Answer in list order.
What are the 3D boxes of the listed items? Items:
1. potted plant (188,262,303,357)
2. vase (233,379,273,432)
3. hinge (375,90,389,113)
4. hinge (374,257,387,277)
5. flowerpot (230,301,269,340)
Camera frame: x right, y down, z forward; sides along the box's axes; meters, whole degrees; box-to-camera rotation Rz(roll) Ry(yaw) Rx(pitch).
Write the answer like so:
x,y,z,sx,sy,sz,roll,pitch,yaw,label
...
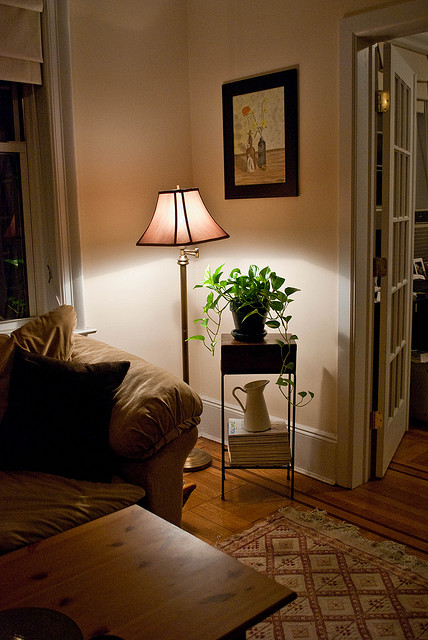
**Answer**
x,y,z,sx,sy,sz,roll,pitch,yaw,label
0.147,-0.054,2.220,0.450,0.342,0.405,9,-17,-30,potted plant
0.196,0.406,2.338,0.211,0.294,0.158,-1,16,6,vase
0.738,-0.967,2.120,0.073,0.079,0.041,-17,24,-37,hinge
0.769,-0.248,2.207,0.073,0.079,0.019,1,4,3,hinge
0.161,-0.004,2.132,0.142,0.168,0.163,0,2,0,flowerpot
